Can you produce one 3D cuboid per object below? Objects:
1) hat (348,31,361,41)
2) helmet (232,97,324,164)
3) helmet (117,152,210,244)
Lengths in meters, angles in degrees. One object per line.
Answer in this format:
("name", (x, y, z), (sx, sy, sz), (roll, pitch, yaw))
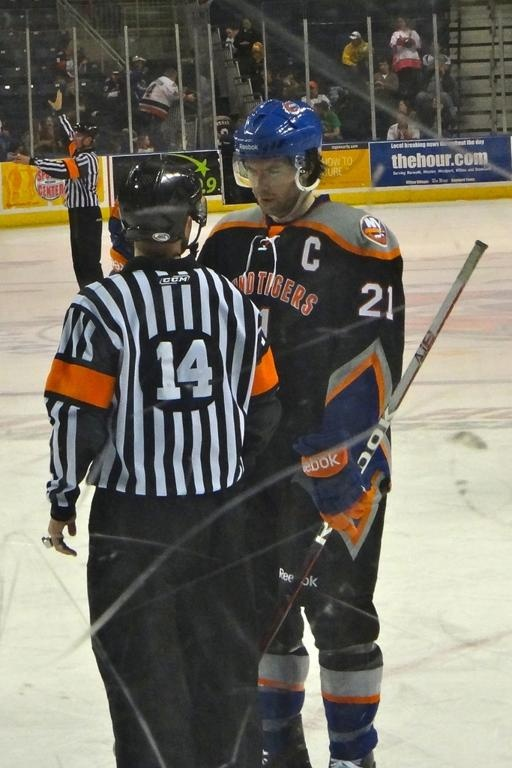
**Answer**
("hat", (2.064, -7.229, 16.895), (0.214, 0.238, 0.288), (0, 9, -11))
("helmet", (0.038, -0.477, 1.596), (0.150, 0.146, 0.174), (22, 33, 40))
("helmet", (-0.174, -0.280, 1.307), (0.171, 0.165, 0.200), (5, 16, -11))
